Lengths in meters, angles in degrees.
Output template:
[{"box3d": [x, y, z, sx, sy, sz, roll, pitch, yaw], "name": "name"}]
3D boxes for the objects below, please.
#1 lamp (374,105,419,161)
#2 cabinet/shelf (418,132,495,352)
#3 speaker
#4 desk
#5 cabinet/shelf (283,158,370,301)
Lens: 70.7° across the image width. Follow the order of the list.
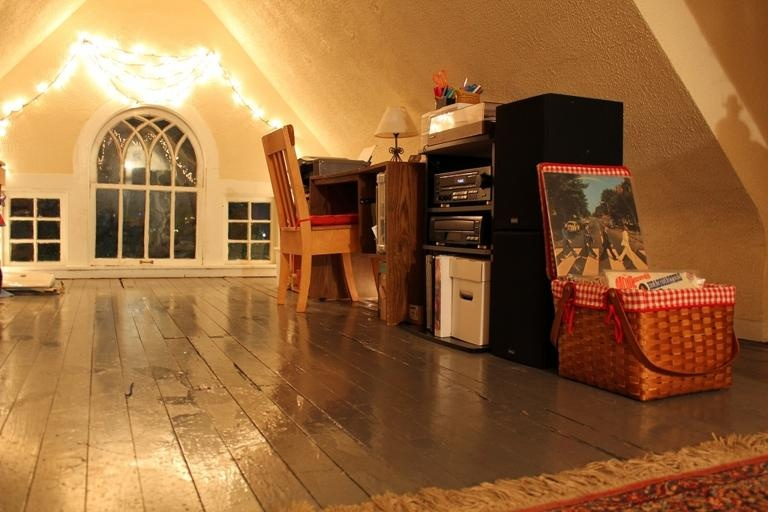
[{"box3d": [0.103, -0.999, 4.552, 0.351, 0.476, 0.321, -1, 4, 4], "name": "lamp"}, {"box3d": [0.401, -0.102, 2.990, 0.372, 1.068, 0.732, 1, 8, 5], "name": "cabinet/shelf"}, {"box3d": [0.782, -0.119, 2.519, 0.556, 1.219, 0.343, 2, 8, 10], "name": "speaker"}, {"box3d": [-0.115, -0.048, 3.722, 0.390, 0.991, 1.172, -1, 4, -15], "name": "desk"}, {"box3d": [-0.520, -0.205, 4.524, 0.681, 0.896, 0.682, 7, 3, 40], "name": "cabinet/shelf"}]
